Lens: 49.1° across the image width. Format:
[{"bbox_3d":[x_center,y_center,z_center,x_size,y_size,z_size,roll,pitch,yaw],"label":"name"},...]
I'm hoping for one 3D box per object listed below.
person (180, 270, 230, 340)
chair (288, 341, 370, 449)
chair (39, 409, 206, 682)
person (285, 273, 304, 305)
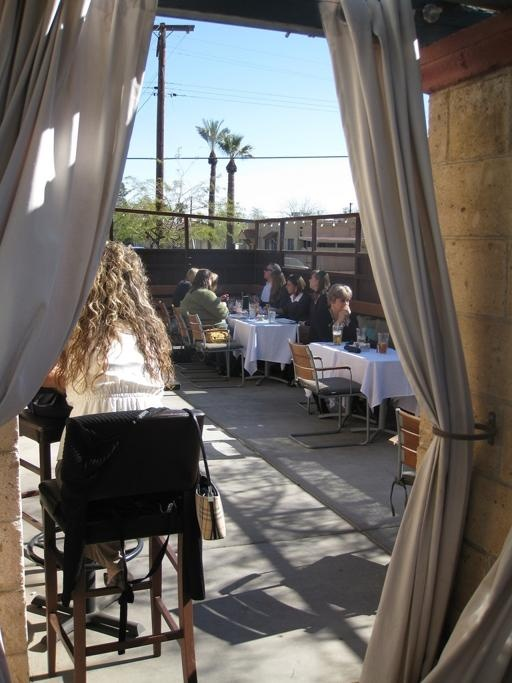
[{"bbox_3d":[-0.720,-0.559,8.628,0.619,1.068,0.786,-7,0,-19],"label":"person"},{"bbox_3d":[0.815,0.486,6.079,0.914,1.399,1.038,-3,5,-14],"label":"chair"},{"bbox_3d":[-0.477,0.770,2.049,0.576,1.162,0.569,0,8,-22],"label":"chair"},{"bbox_3d":[0.629,-0.828,8.859,0.244,0.430,0.821,3,7,2],"label":"person"}]
